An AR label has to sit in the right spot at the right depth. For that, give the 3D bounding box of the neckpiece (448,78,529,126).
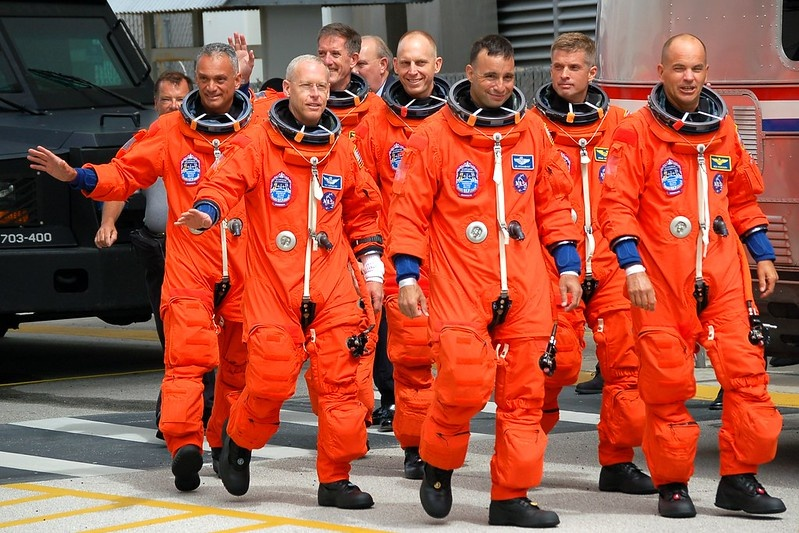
[{"bbox_3d":[0.470,-0.946,5.014,0.343,0.096,0.330,-29,55,-28],"label":"neckpiece"}]

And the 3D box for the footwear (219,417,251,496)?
[{"bbox_3d":[-1.040,1.201,5.386,0.163,0.450,0.195,-6,8,-17],"label":"footwear"}]

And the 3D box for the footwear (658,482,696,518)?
[{"bbox_3d":[1.661,1.406,5.107,0.208,0.196,0.494,-4,-6,8],"label":"footwear"}]

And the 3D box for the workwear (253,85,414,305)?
[{"bbox_3d":[-0.344,-0.627,6.251,1.649,1.492,0.570,1,6,6],"label":"workwear"}]

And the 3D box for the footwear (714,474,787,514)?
[{"bbox_3d":[2.069,1.342,4.992,0.166,0.225,0.470,14,-12,-24],"label":"footwear"}]

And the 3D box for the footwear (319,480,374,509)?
[{"bbox_3d":[-0.349,1.420,5.293,0.360,0.144,0.147,-3,-4,27],"label":"footwear"}]

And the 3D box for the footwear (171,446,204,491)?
[{"bbox_3d":[-1.372,1.319,5.559,0.155,0.398,0.178,-5,50,-9],"label":"footwear"}]

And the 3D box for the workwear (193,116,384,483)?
[{"bbox_3d":[-0.630,0.215,5.297,1.049,2.247,0.577,-1,4,-2],"label":"workwear"}]

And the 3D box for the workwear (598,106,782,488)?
[{"bbox_3d":[1.731,0.181,5.087,1.034,2.297,0.439,0,4,12],"label":"workwear"}]
